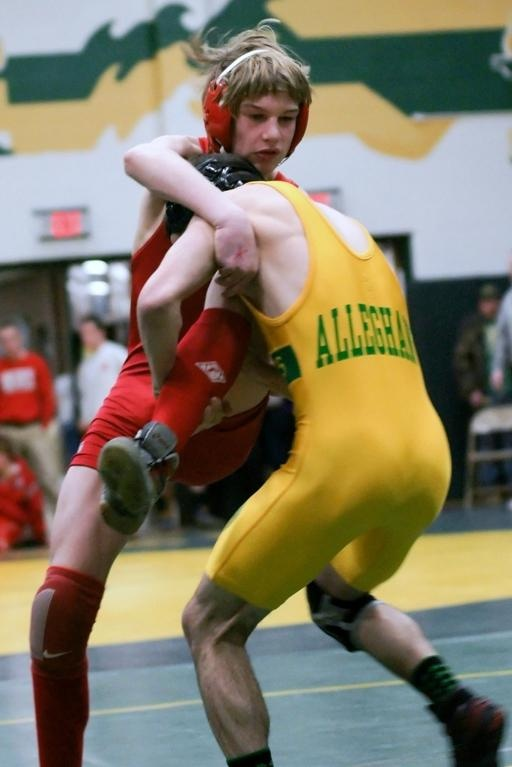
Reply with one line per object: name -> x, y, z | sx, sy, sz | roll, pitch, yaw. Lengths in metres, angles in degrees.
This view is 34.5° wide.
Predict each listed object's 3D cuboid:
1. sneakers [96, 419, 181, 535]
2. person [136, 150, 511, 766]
sneakers -> -0.202, 0.149, 1.280 | 0.098, 0.187, 0.089 | 50, 29, 21
person -> 0.072, 0.113, 1.365 | 0.361, 0.881, 0.596 | 9, 18, 34
